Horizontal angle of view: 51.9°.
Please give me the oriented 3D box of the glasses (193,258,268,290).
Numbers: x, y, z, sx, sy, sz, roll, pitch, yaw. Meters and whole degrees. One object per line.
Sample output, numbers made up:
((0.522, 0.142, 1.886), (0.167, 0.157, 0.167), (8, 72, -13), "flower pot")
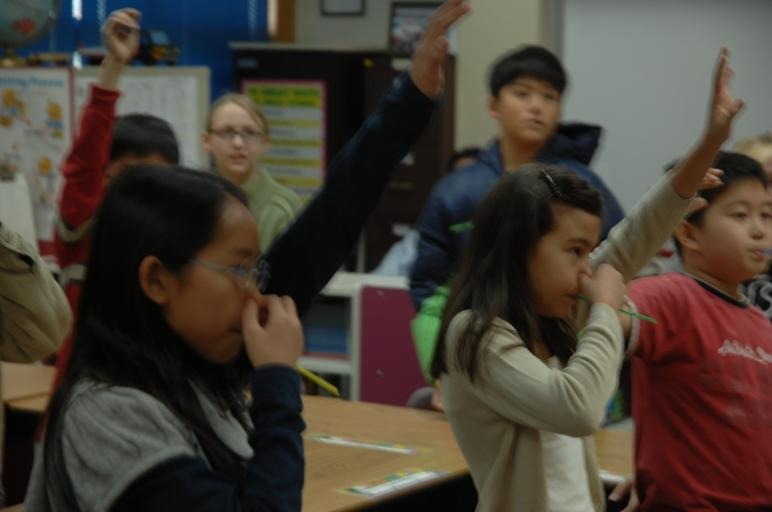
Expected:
((-0.277, 0.032, 1.492), (0.074, 0.028, 0.072), (19, 5, 6), "glasses")

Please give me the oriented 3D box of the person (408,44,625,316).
((0.437, -0.141, 2.564), (0.738, 1.085, 0.610), (3, 2, 5), "person")

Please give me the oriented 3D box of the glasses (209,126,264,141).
((-0.290, -0.236, 1.544), (0.055, 0.015, 0.056), (2, -6, -5), "glasses")
